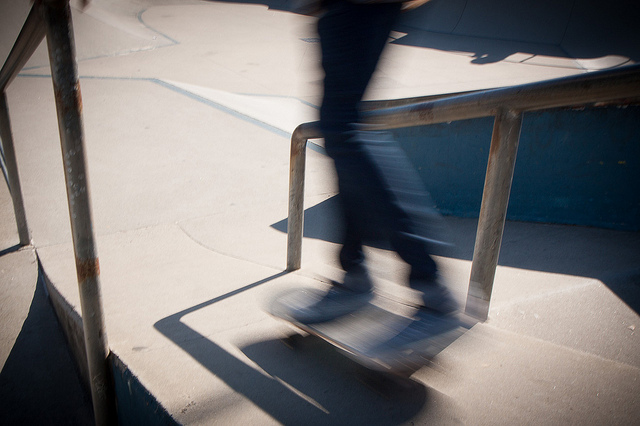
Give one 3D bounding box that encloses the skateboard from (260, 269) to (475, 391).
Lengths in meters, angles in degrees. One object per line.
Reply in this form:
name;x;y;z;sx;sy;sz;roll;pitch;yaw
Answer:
skateboard;0.161;0.453;1.872;0.862;0.247;0.416;7;18;19
